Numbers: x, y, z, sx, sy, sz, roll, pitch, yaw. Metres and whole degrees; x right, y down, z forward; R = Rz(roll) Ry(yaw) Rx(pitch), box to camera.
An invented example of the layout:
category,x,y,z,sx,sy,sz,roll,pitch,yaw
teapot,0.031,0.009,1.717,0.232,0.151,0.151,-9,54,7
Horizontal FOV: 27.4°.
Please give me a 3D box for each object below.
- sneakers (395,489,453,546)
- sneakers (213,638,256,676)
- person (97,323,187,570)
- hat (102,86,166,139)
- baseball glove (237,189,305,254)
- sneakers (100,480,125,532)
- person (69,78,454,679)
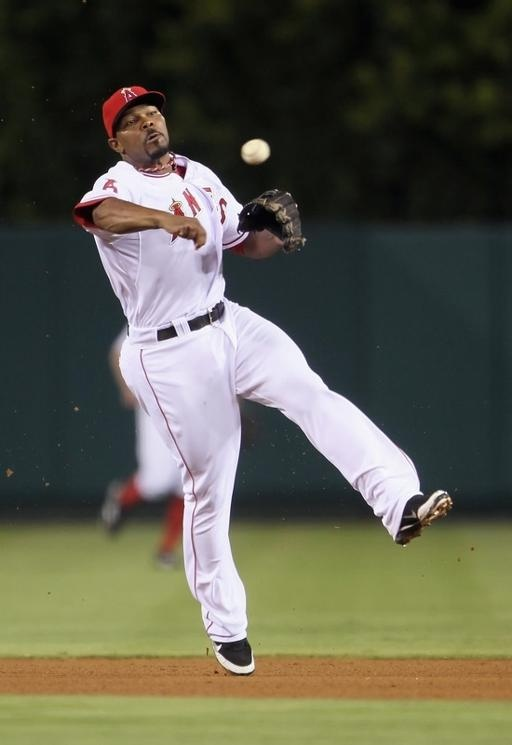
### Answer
category,x,y,z,sx,sy,sz,roll,pitch,yaw
sneakers,0.466,0.406,2.964,0.154,0.208,0.190,-3,18,6
sneakers,-0.070,0.881,3.295,0.075,0.067,0.179,-6,10,-30
person,-0.546,0.365,5.130,0.534,1.394,0.347,-12,35,-14
hat,-0.393,-0.852,3.272,0.168,0.110,0.221,-24,17,10
baseball glove,0.018,-0.485,3.340,0.207,0.141,0.187,0,41,-17
sneakers,-0.760,0.723,5.692,0.069,0.277,0.148,-7,23,-28
person,-0.024,0.140,3.258,0.648,2.013,1.062,-21,24,-39
